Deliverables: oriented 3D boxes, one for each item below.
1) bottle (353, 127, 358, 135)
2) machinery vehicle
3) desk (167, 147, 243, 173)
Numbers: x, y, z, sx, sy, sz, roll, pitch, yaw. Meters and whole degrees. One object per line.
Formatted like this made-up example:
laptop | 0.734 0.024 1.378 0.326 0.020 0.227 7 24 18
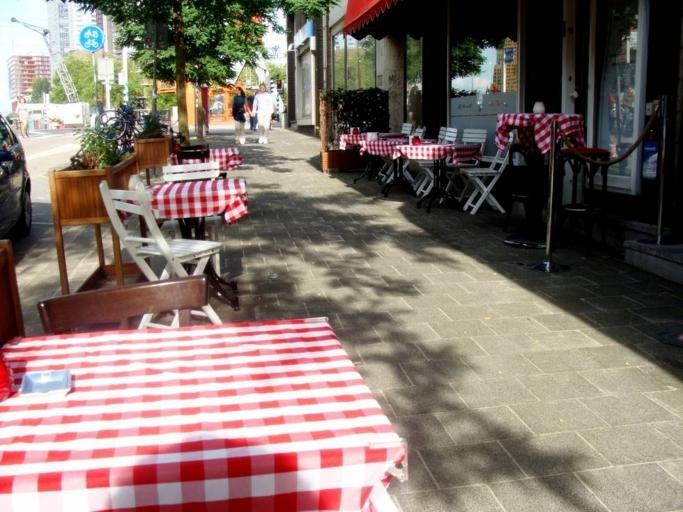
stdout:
bottle | 0.379 -3.493 14.202 0.167 0.193 0.210 0 4 -3
machinery vehicle | -66.363 -45.452 115.565 6.211 17.976 2.993 -17 13 0
desk | -2.156 -1.596 8.255 0.945 0.303 1.247 -3 17 -2
